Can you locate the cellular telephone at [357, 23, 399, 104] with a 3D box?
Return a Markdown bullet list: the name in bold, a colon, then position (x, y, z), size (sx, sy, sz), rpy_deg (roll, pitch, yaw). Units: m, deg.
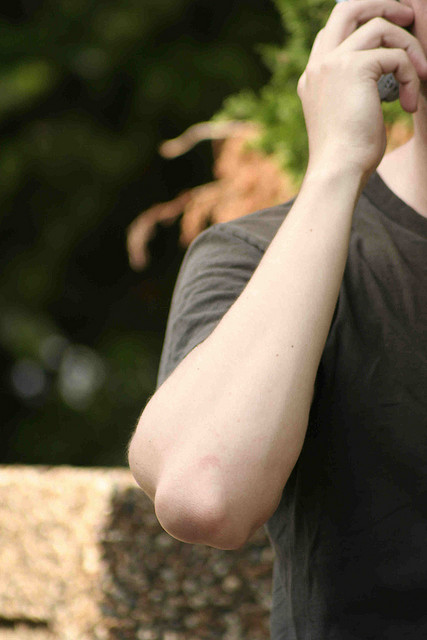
- **cellular telephone**: position (0.227, -0.350, 1.095), size (0.086, 0.099, 0.037), rpy_deg (6, 26, 20)
